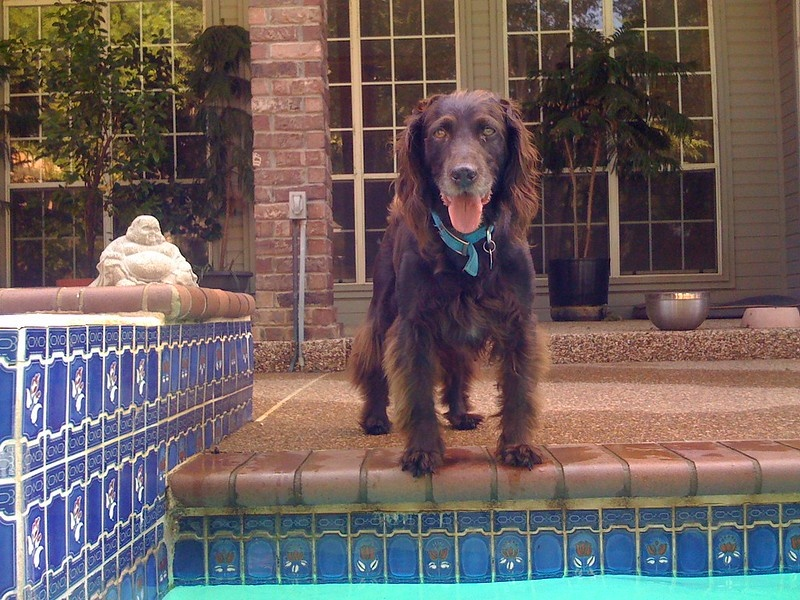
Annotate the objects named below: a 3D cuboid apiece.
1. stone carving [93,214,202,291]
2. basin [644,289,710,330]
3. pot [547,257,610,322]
[{"bbox_3d":[-1.865,-0.327,10.130,0.779,0.617,0.447,1,-11,-18],"label":"stone carving"},{"bbox_3d":[2.491,0.105,12.303,0.618,0.432,0.675,-3,6,0],"label":"basin"},{"bbox_3d":[1.839,-0.087,13.979,0.598,0.682,0.639,1,-2,0],"label":"pot"}]
